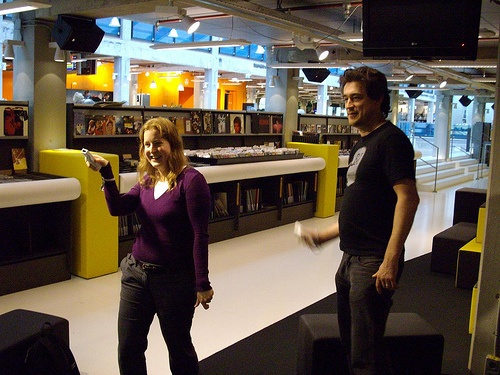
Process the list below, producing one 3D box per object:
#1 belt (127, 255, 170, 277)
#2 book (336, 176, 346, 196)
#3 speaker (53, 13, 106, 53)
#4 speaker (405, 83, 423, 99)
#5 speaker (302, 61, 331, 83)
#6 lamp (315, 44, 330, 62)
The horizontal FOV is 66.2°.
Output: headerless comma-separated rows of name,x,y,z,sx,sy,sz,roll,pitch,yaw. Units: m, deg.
belt,-0.585,0.428,2.107,0.319,0.072,0.057,6,9,33
book,1.942,-0.047,8.162,0.140,0.429,0.452,3,6,31
speaker,-2.283,-2.034,5.080,0.394,0.503,0.545,6,9,33
speaker,7.035,-4.076,16.336,0.675,0.269,0.691,6,11,38
speaker,1.810,-3.200,10.727,0.702,0.514,0.751,26,28,25
lamp,1.313,-2.455,6.915,0.222,0.292,0.449,3,8,13
